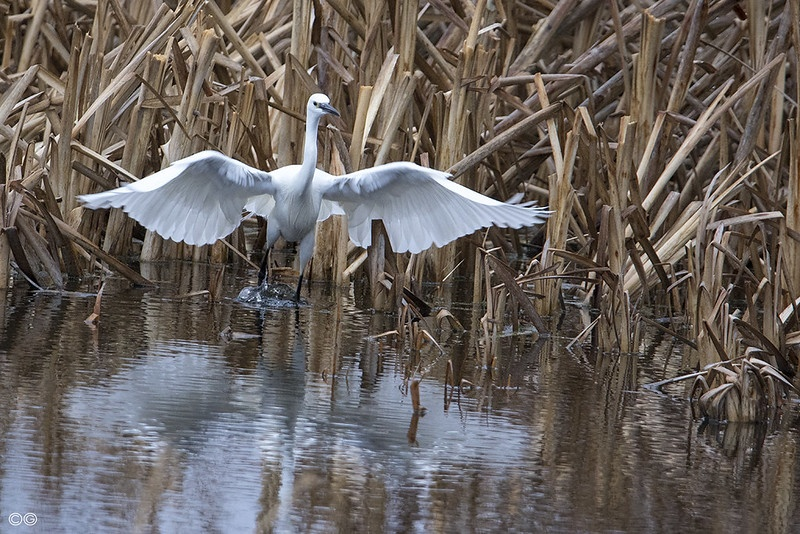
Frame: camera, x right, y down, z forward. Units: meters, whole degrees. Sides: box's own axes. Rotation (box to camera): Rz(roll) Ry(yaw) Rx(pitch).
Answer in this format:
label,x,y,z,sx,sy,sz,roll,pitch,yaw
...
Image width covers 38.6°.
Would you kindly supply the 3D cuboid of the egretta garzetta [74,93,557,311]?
label,x,y,z,sx,sy,sz,roll,pitch,yaw
egretta garzetta,-0.600,-0.254,7.146,2.308,1.342,1.238,3,37,-8
